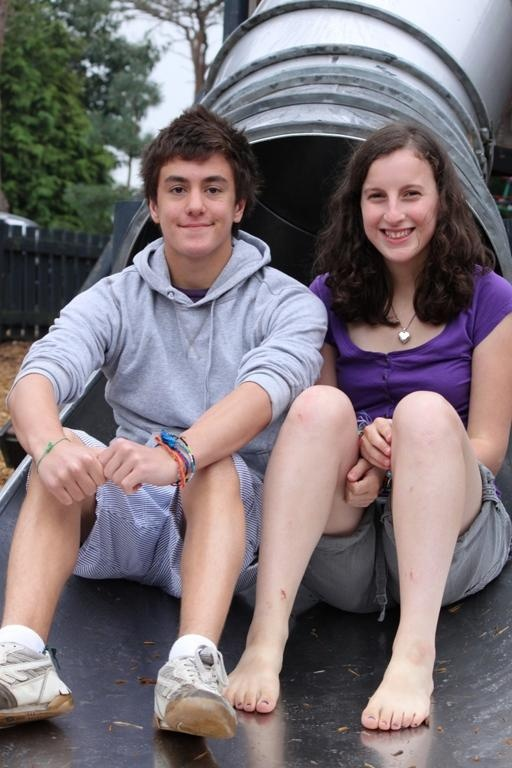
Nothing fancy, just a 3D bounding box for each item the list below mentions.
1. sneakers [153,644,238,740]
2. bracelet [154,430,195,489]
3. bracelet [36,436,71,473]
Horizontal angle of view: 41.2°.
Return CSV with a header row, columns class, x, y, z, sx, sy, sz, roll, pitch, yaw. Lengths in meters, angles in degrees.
class,x,y,z,sx,sy,sz,roll,pitch,yaw
sneakers,-0.082,0.418,0.903,0.100,0.108,0.123,2,-2,-8
bracelet,-0.140,0.126,1.163,0.036,0.085,0.076,-17,35,-41
bracelet,-0.349,0.120,1.175,0.038,0.037,0.076,1,-2,25
